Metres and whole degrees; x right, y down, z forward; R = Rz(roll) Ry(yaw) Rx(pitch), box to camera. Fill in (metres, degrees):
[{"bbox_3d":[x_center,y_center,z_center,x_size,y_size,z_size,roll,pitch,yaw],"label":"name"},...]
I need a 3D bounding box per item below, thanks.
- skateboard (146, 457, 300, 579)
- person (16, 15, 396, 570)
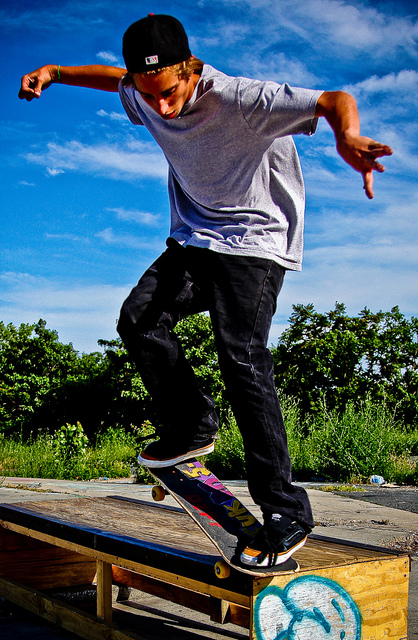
[{"bbox_3d":[0.009,0.574,1.832,0.200,0.110,0.753,0,17,-31],"label":"skateboard"},{"bbox_3d":[0.021,-0.203,1.826,0.677,1.875,1.086,12,-16,-32],"label":"person"}]
